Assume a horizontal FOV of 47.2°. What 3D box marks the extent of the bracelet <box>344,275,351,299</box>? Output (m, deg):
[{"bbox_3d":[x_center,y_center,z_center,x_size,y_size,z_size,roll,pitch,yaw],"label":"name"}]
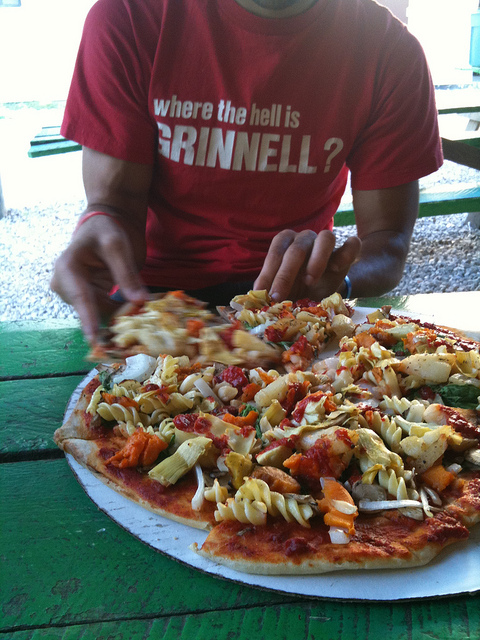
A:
[{"bbox_3d":[0.405,-0.131,2.046,0.017,0.057,0.064,-1,-4,-8],"label":"bracelet"}]
